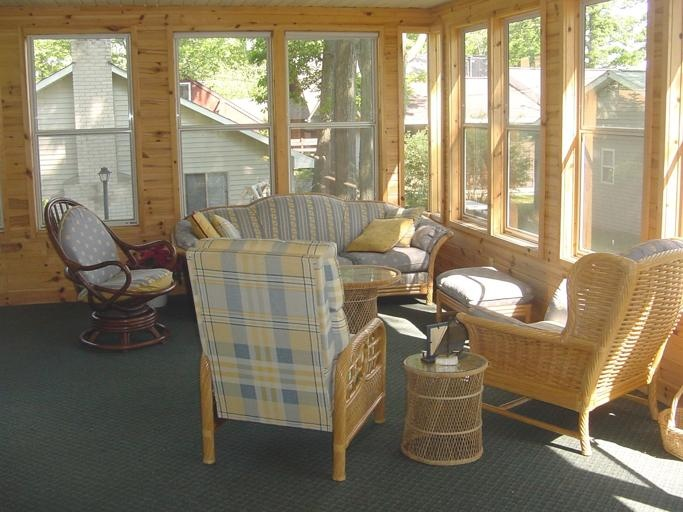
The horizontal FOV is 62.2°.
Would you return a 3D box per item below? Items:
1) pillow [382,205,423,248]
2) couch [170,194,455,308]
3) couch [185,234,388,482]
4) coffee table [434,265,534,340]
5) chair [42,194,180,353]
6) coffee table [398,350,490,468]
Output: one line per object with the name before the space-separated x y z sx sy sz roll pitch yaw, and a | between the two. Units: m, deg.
pillow | 0.706 -0.360 6.471 0.634 0.439 0.174 3 -27 41
couch | -0.361 -0.111 6.361 3.054 0.867 0.848 -2 29 -15
couch | -0.368 0.558 3.068 0.842 1.331 0.295 3 21 14
coffee table | 1.311 0.443 5.231 0.615 0.368 0.676 -2 10 -13
chair | -2.128 0.127 5.279 1.331 1.154 1.011 13 12 -4
coffee table | 0.576 0.886 3.368 0.775 0.509 0.618 0 4 4
